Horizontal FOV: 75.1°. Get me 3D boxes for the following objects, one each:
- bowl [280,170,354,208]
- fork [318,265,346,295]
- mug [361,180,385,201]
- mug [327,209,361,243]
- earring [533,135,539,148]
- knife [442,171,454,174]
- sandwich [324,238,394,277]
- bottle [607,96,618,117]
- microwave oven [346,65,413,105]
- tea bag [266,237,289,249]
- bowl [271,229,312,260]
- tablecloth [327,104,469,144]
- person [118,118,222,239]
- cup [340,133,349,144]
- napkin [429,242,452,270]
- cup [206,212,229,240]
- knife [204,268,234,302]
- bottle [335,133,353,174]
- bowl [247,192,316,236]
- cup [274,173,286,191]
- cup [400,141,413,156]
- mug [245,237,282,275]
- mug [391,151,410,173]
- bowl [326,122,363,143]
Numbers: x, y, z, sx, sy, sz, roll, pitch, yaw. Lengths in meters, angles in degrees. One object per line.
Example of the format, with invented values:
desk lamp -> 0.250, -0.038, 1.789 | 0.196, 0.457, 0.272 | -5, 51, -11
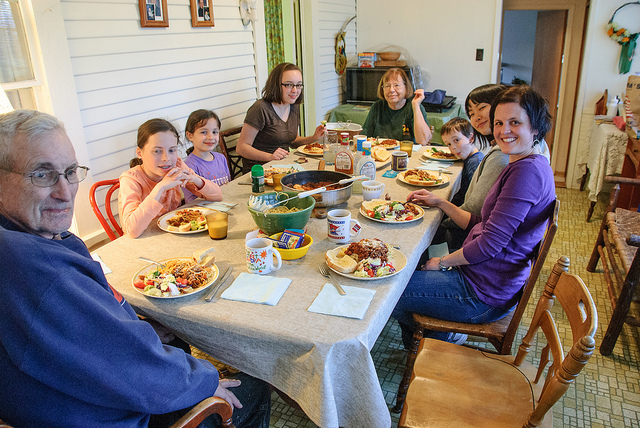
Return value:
bowl -> 0.057, -0.143, 2.555 | 0.297, 0.152, 0.386 | 1, 17, 23
fork -> 0.048, 0.299, 1.862 | 0.040, 0.034, 0.232 | 0, 34, -25
mug -> 0.319, -0.146, 2.547 | 0.132, 0.100, 0.104 | -3, 17, -18
mug -> 0.124, 0.071, 2.137 | 0.184, 0.142, 0.120 | 11, 21, 29
earring -> 1.111, -0.374, 2.129 | 0.040, 0.062, 0.017 | -17, 24, -33
knife -> 0.911, -0.300, 2.967 | 0.075, 0.017, 0.014 | 6, 40, 33
sandwich -> 0.181, 0.204, 1.940 | 0.316, 0.114, 0.188 | -2, 19, 4
bottle -> 3.268, -1.192, 4.622 | 0.095, 0.169, 0.307 | 10, 23, 33
microwave oven -> 0.800, -1.807, 5.781 | 0.775, 0.493, 0.415 | 11, 30, 27
tea bag -> -0.204, 0.140, 1.997 | 0.121, 0.017, 0.082 | 10, -10, 21
bowl -> -0.134, 0.119, 2.021 | 0.150, 0.070, 0.156 | 0, 20, 0
tablecloth -> 0.956, -1.201, 5.428 | 1.633, 0.430, 0.704 | 11, 24, 36
person -> -0.931, -0.216, 2.592 | 0.455, 0.713, 0.577 | 23, 41, 25
cup -> 0.155, -0.488, 2.732 | 0.062, 0.095, 0.060 | -1, 32, 1
napkin -> 0.762, 0.260, 2.623 | 0.115, 0.039, 0.162 | -8, 27, 22
cup -> -0.533, 0.062, 2.226 | 0.133, 0.135, 0.120 | -1, 26, 0
knife -> -0.445, 0.309, 1.848 | 0.033, 0.012, 0.248 | 24, 26, 7
bottle -> 0.159, -0.393, 2.698 | 0.137, 0.309, 0.081 | 5, 41, 8
bowl -> -0.230, 0.000, 2.160 | 0.270, 0.132, 0.275 | -1, 20, 0
cup -> -0.280, -0.206, 2.703 | 0.092, 0.100, 0.094 | -1, 26, 0
cup -> 0.685, -0.533, 3.398 | 0.123, 0.135, 0.127 | -2, 14, 1
mug -> -0.253, 0.210, 1.942 | 0.194, 0.136, 0.126 | 11, 16, 32
mug -> 0.587, -0.398, 3.096 | 0.115, 0.131, 0.159 | -9, 20, -15
bowl -> 0.202, -0.749, 3.673 | 0.369, 0.142, 0.389 | -1, 24, 0
